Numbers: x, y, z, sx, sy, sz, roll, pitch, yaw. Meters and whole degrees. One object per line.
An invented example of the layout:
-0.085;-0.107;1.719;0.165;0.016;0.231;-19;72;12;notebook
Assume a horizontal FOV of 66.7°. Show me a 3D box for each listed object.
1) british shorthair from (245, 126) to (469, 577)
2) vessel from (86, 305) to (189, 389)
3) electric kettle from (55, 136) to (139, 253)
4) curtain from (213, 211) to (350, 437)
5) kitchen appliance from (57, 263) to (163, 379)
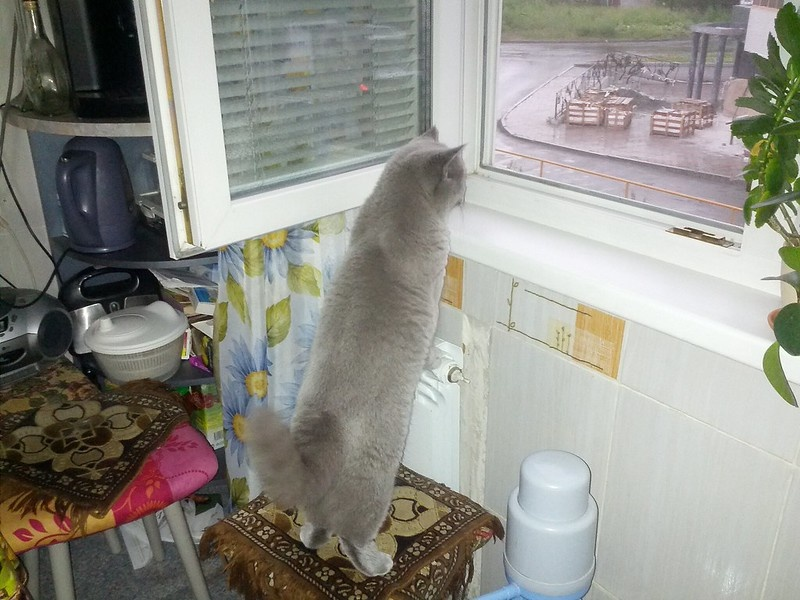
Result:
-0.068;0.080;1.290;0.235;0.584;0.952;11;49;11;british shorthair
-0.777;0.130;1.782;0.261;0.192;0.262;12;24;22;vessel
-0.854;-0.298;1.717;0.169;0.295;0.154;-3;28;-5;electric kettle
-0.344;0.069;1.491;0.197;0.567;0.034;5;29;-3;curtain
-0.961;-0.001;2.026;0.272;0.377;0.151;-17;62;-32;kitchen appliance
